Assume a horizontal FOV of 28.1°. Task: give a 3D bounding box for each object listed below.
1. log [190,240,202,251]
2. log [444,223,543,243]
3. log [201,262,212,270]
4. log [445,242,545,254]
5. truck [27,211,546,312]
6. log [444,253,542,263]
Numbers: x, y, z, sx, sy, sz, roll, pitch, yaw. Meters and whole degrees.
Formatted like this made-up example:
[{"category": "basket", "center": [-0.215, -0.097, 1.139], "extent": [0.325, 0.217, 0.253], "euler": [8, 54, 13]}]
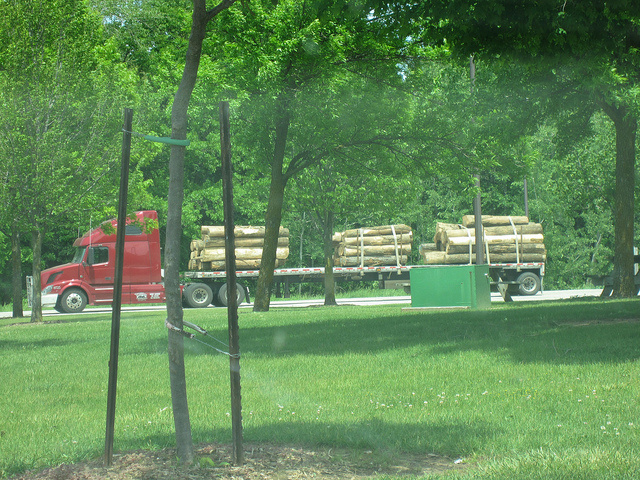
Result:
[{"category": "log", "center": [-4.879, 0.207, 49.964], "extent": [0.455, 0.373, 0.389], "euler": [2, -9, -35]}, {"category": "log", "center": [6.980, -0.261, 50.703], "extent": [3.760, 0.694, 0.750], "euler": [-1, 1, -5]}, {"category": "log", "center": [-4.372, 0.990, 48.750], "extent": [0.397, 0.271, 0.327], "euler": [-2, -2, 6]}, {"category": "log", "center": [6.995, 0.324, 50.844], "extent": [3.758, 0.575, 0.687], "euler": [-2, -2, 8]}, {"category": "truck", "center": [-0.823, 0.460, 50.796], "extent": [19.833, 4.037, 3.697], "euler": [-2, 11, -7]}, {"category": "log", "center": [6.894, 0.705, 50.919], "extent": [3.821, 0.464, 0.846], "euler": [-3, -3, 13]}]
